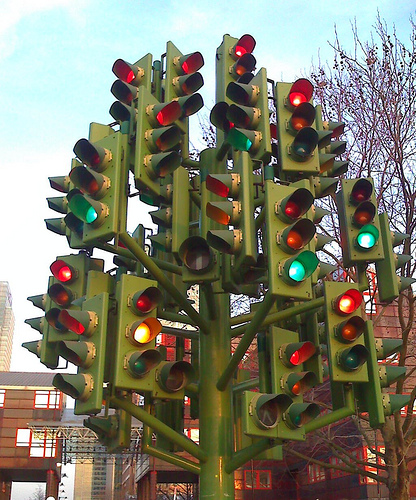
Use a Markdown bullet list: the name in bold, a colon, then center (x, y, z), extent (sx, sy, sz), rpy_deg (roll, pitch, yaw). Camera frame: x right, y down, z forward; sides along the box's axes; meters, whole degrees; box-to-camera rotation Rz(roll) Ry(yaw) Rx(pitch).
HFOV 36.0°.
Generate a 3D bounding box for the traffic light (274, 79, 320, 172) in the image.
- **traffic light**: center (0.931, -1.340, 6.722), extent (0.414, 1.102, 0.508), rpy_deg (-3, -21, 6)

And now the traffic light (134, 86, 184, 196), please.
- **traffic light**: center (-0.487, -1.151, 6.535), extent (0.450, 1.148, 0.486), rpy_deg (0, -21, -2)

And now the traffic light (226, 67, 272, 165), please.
- **traffic light**: center (0.434, -1.449, 6.849), extent (0.509, 1.171, 0.471), rpy_deg (-7, -22, 15)

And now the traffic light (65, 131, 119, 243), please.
- **traffic light**: center (-1.082, -0.657, 6.165), extent (0.415, 1.160, 0.439), rpy_deg (12, -25, -29)

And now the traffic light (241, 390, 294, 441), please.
- **traffic light**: center (0.556, 1.444, 5.718), extent (0.447, 0.384, 0.360), rpy_deg (19, -32, -41)

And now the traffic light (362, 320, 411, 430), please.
- **traffic light**: center (1.823, 1.212, 6.717), extent (0.454, 1.229, 1.082), rpy_deg (-7, -21, 15)

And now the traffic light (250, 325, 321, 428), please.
- **traffic light**: center (0.769, 1.141, 5.900), extent (0.750, 0.953, 0.368), rpy_deg (16, -27, -38)

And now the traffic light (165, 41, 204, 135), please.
- **traffic light**: center (-0.271, -1.939, 7.531), extent (0.492, 0.824, 0.414), rpy_deg (2, 3, -1)

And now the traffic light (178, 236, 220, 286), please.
- **traffic light**: center (-0.074, 0.064, 6.555), extent (0.368, 0.444, 0.371), rpy_deg (4, 0, 14)

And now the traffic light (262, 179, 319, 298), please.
- **traffic light**: center (0.724, -0.120, 5.635), extent (0.449, 1.097, 0.388), rpy_deg (1, -22, -5)

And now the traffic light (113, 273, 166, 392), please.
- **traffic light**: center (-0.597, 0.712, 5.787), extent (0.456, 1.060, 0.333), rpy_deg (11, -24, -27)

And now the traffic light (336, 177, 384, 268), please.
- **traffic light**: center (1.654, -0.361, 7.067), extent (0.434, 1.063, 0.418), rpy_deg (-5, -22, 11)

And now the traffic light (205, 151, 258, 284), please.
- **traffic light**: center (0.230, -0.432, 6.368), extent (0.486, 1.391, 0.888), rpy_deg (-2, -21, 4)

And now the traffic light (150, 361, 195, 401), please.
- **traffic light**: center (-0.331, 1.241, 6.251), extent (0.290, 0.374, 0.421), rpy_deg (-25, -30, 37)

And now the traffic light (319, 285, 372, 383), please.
- **traffic light**: center (1.382, 0.827, 6.423), extent (0.373, 0.945, 0.378), rpy_deg (-7, -22, 15)

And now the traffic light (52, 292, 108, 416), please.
- **traffic light**: center (-1.131, 0.914, 5.780), extent (0.430, 1.083, 0.517), rpy_deg (4, -22, -12)
